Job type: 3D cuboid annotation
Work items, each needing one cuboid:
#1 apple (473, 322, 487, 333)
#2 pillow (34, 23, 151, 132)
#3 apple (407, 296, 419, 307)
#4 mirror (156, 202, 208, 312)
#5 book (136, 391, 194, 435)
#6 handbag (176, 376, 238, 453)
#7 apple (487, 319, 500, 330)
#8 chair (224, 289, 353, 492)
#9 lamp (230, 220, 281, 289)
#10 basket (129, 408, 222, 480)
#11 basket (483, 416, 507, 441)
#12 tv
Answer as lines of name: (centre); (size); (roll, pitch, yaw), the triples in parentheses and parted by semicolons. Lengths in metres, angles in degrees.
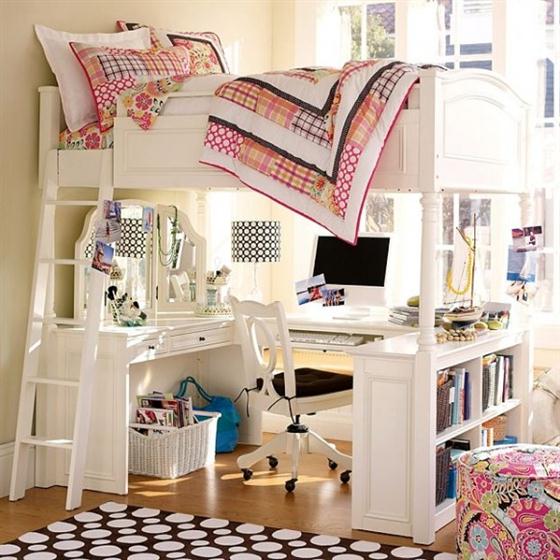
apple: (1.052, 0.243, 3.189); (0.045, 0.036, 0.060); (-3, 5, 31)
pillow: (-0.983, -1.015, 3.114); (0.106, 0.423, 0.561); (-5, 24, 44)
apple: (0.819, 0.123, 3.746); (0.055, 0.046, 0.071); (9, 20, 38)
mirror: (-0.656, -0.123, 3.984); (0.347, 0.660, 0.018); (1, -2, 23)
book: (-0.664, 0.741, 3.455); (0.215, 0.090, 0.221); (4, 4, 12)
handbag: (-0.541, 0.883, 3.981); (0.314, 0.528, 0.508); (-7, -9, 31)
apple: (1.170, 0.239, 3.333); (0.061, 0.048, 0.047); (5, 21, 11)
chair: (0.086, 0.565, 3.320); (0.593, 0.988, 0.630); (-1, 3, 32)
lamp: (-0.202, -0.229, 4.125); (0.284, 0.477, 0.286); (4, 5, 40)
basket: (-0.596, 0.940, 3.520); (0.284, 0.215, 0.394); (-2, -4, 28)
basket: (1.233, 0.834, 3.451); (0.146, 0.129, 0.171); (-1, 0, 8)
tv: (0.459, -0.054, 3.910); (0.514, 0.485, 0.202); (3, 0, 27)
